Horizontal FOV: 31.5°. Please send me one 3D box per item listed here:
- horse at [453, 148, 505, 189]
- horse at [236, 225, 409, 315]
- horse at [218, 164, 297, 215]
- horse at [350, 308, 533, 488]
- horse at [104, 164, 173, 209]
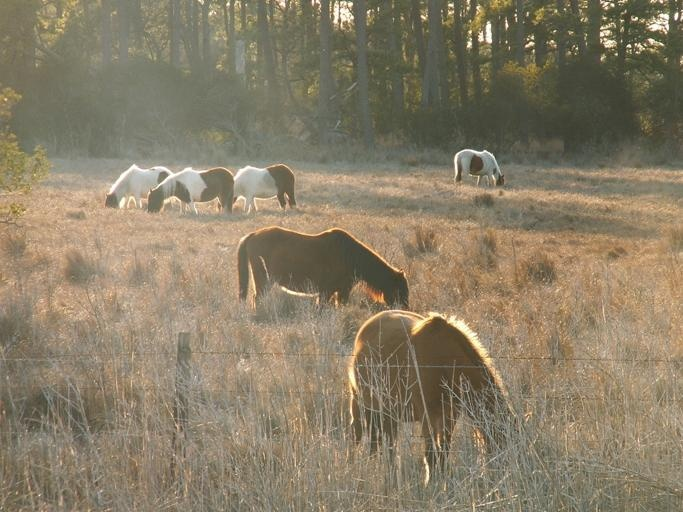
[{"bbox_3d":[6.118,-3.816,53.855,2.521,1.985,0.878,4,8,-29],"label":"horse"},{"bbox_3d":[-0.818,0.821,41.017,5.861,4.532,2.034,9,25,10],"label":"horse"},{"bbox_3d":[-3.340,-2.724,49.282,3.160,2.312,1.008,-6,14,-24],"label":"horse"},{"bbox_3d":[2.197,3.374,37.946,5.540,3.750,1.863,16,26,33],"label":"horse"},{"bbox_3d":[-8.361,-2.977,50.887,3.313,2.367,1.083,-13,34,-23],"label":"horse"}]
